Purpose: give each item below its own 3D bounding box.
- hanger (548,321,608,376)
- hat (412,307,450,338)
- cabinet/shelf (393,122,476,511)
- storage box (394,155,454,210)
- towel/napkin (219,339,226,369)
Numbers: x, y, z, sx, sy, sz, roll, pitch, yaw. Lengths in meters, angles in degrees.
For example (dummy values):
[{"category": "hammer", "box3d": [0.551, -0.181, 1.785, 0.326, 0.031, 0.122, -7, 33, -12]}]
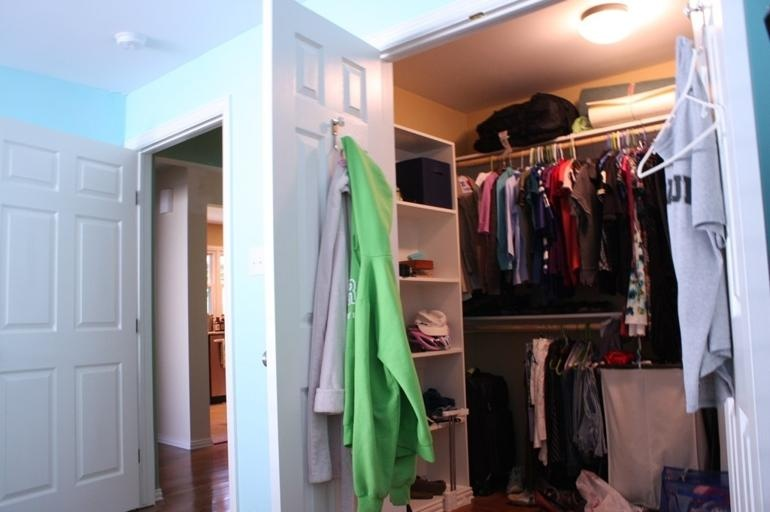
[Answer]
[{"category": "hanger", "box3d": [1.460, 0.783, 4.439, 0.366, 0.489, 0.177, -4, -13, -11]}, {"category": "hat", "box3d": [0.370, 0.522, 4.517, 0.278, 0.228, 0.310, -4, -9, 3]}, {"category": "cabinet/shelf", "box3d": [0.383, 0.486, 4.490, 0.503, 2.840, 0.682, -4, -8, 7]}, {"category": "storage box", "box3d": [0.304, -0.566, 4.685, 0.442, 0.358, 0.455, 0, -1, 26]}, {"category": "towel/napkin", "box3d": [-2.381, 1.402, 8.346, 0.061, 0.377, 0.202, -2, -9, -7]}]
